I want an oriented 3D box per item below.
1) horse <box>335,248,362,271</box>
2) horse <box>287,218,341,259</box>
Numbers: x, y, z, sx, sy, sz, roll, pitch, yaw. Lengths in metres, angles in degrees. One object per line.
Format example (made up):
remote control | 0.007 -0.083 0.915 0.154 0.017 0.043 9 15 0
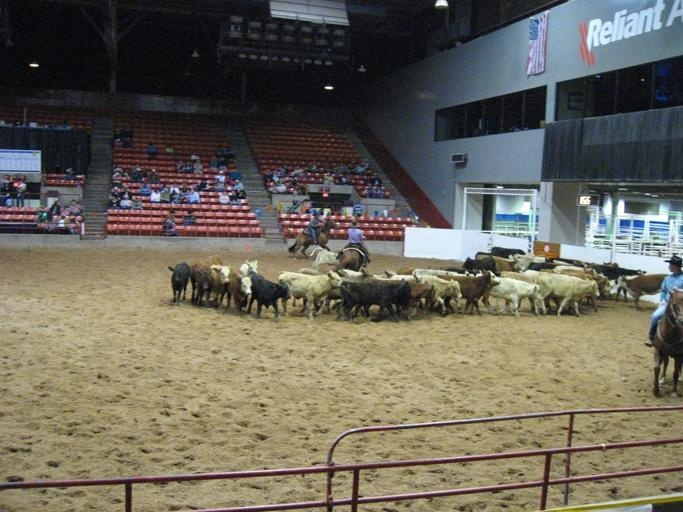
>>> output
horse | 0.229 0.110 21.424 0.819 0.659 1.072 2 3 2
horse | -1.279 -0.689 28.020 2.575 1.476 0.663 -7 -1 -30
